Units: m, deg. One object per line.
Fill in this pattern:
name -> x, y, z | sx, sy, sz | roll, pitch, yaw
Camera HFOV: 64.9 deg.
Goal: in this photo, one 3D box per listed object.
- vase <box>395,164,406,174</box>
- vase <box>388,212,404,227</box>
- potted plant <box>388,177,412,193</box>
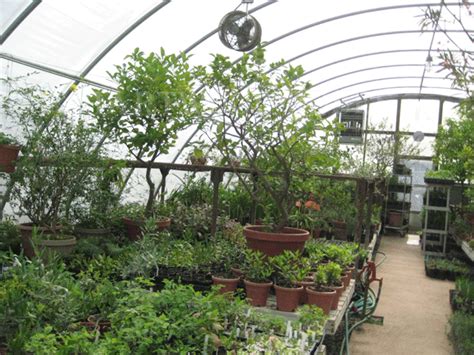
vase -> 5.397, -0.260, 12.425 | 0.302, 0.323, 0.282 | 2, -5, -1
vase -> 5.287, 1.406, 12.526 | 0.503, 0.541, 0.465 | 1, -5, 14
potted plant -> 5.431, 0.215, 12.498 | 0.544, 0.371, 0.545 | 2, 2, 28
